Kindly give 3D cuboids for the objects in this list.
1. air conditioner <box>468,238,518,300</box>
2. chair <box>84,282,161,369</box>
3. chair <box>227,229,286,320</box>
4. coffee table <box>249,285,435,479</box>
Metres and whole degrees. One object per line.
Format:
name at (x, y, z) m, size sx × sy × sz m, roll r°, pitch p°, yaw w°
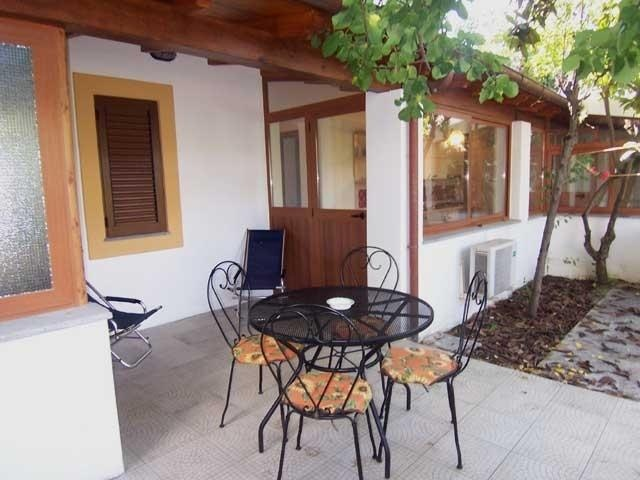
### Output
air conditioner at (1.902, 0.295, 5.209) m, size 0.296 × 0.821 × 0.654 m, roll 7°, pitch 12°, yaw 43°
chair at (-1.911, 0.822, 4.540) m, size 0.511 × 0.629 × 1.104 m, roll -8°, pitch 13°, yaw -27°
chair at (-0.699, 0.468, 5.629) m, size 0.703 × 0.981 × 0.757 m, roll 4°, pitch 16°, yaw 18°
coffee table at (0.151, 0.800, 3.348) m, size 1.000 × 1.252 × 1.318 m, roll 5°, pitch 18°, yaw 16°
